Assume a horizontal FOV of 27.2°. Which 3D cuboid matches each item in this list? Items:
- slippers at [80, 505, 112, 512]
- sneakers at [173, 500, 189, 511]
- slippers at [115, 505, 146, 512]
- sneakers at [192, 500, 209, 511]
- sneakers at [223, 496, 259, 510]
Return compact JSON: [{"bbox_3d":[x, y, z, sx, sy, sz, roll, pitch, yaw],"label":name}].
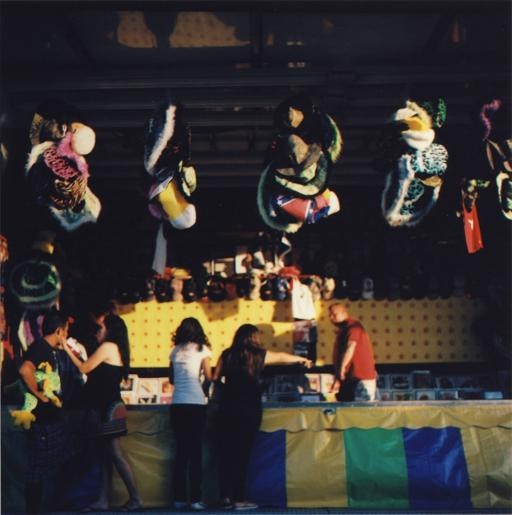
[{"bbox_3d":[-1.530,2.403,10.131,0.259,0.078,0.042,0,-10,-4],"label":"slippers"},{"bbox_3d":[-0.731,2.381,10.137,0.155,0.090,0.042,-5,-11,21],"label":"sneakers"},{"bbox_3d":[-1.204,2.394,10.150,0.228,0.089,0.069,2,-11,-15],"label":"slippers"},{"bbox_3d":[-0.555,2.371,10.135,0.108,0.051,0.079,0,1,-11],"label":"sneakers"},{"bbox_3d":[-0.150,2.369,10.186,0.338,0.161,0.122,-1,-12,-1],"label":"sneakers"}]
